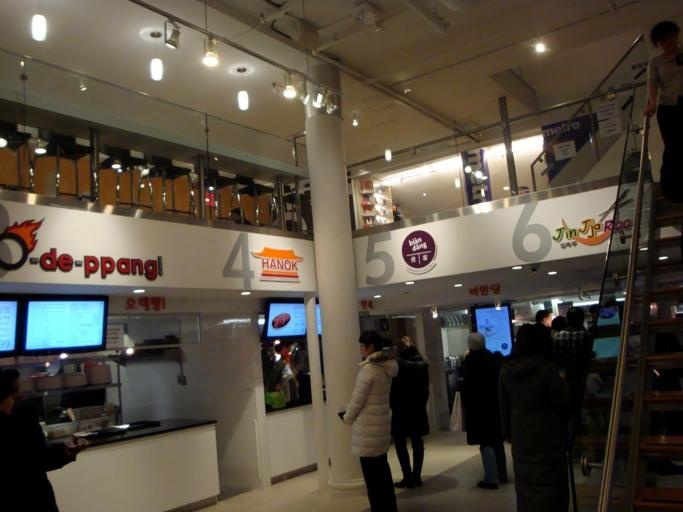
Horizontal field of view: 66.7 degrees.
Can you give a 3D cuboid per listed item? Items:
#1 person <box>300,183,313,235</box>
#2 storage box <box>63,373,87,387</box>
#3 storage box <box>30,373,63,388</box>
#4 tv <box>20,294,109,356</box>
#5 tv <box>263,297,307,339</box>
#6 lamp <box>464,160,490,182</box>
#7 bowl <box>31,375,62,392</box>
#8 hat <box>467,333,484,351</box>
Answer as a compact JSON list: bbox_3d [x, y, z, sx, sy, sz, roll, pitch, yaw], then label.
[{"bbox_3d":[-0.570,-0.788,8.646,0.192,0.925,0.203,-3,-6,-3],"label":"person"},{"bbox_3d":[-3.758,1.733,7.353,0.169,0.083,0.178,-3,-2,2],"label":"storage box"},{"bbox_3d":[-4.035,1.691,7.100,0.217,0.138,0.225,-6,-7,32],"label":"storage box"},{"bbox_3d":[-3.333,0.805,6.177,0.771,0.604,0.085,0,1,-43],"label":"tv"},{"bbox_3d":[-0.910,1.050,8.782,0.184,0.657,0.964,-7,-7,36],"label":"tv"},{"bbox_3d":[2.148,-1.339,8.237,0.087,0.372,0.355,5,-3,-42],"label":"lamp"},{"bbox_3d":[-4.008,1.720,7.070,0.221,0.149,0.231,-2,-8,0],"label":"bowl"},{"bbox_3d":[1.792,1.068,6.768,0.169,0.249,0.238,10,26,24],"label":"hat"}]
